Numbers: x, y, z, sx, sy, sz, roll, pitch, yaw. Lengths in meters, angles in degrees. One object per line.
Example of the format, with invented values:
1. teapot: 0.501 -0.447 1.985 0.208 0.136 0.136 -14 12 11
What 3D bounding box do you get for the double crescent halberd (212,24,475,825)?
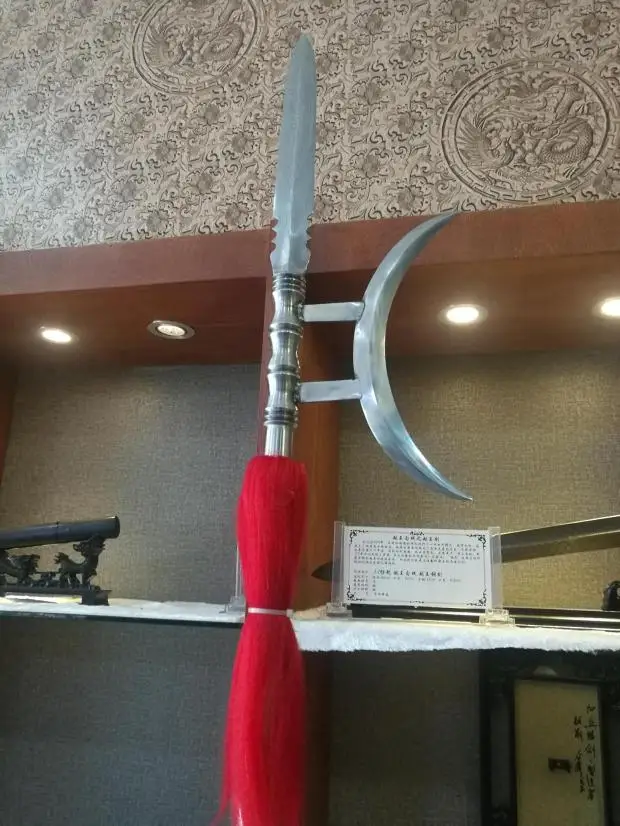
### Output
1. double crescent halberd: 0.052 0.045 1.297 0.339 1.328 0.500 0 2 14
